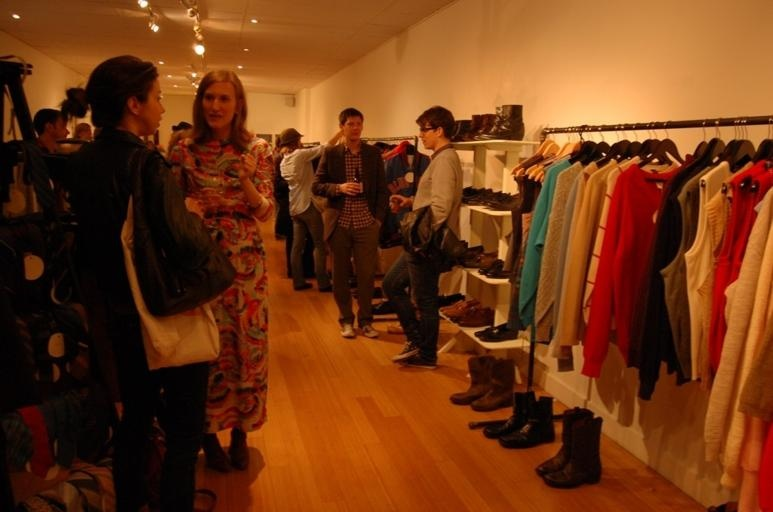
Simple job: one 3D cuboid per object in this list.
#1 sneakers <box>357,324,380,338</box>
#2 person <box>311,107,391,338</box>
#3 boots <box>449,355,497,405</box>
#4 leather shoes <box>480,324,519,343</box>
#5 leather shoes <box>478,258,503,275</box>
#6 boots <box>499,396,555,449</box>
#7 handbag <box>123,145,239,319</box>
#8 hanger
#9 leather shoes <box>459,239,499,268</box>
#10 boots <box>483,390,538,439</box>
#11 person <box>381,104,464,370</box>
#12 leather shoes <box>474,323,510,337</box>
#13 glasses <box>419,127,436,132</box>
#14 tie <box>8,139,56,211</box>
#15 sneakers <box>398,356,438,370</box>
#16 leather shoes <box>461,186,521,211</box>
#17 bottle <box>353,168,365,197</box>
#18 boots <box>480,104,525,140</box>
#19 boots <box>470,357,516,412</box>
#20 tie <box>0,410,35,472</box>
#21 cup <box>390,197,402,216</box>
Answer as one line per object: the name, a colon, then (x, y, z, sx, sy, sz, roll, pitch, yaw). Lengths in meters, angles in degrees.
sneakers: (-0.171, 0.703, 5.450, 0.089, 0.093, 0.226, -5, 8, -35)
person: (-0.329, -0.281, 5.271, 0.651, 2.076, 0.438, 0, 14, -4)
boots: (0.627, 0.910, 4.229, 0.413, 0.311, 0.148, -7, 0, -17)
leather shoes: (0.880, 0.602, 4.478, 0.282, 0.112, 0.166, 0, 0, -11)
leather shoes: (0.819, 0.085, 4.460, 0.086, 0.091, 0.226, 2, -2, 39)
boots: (0.918, 1.080, 3.716, 0.404, 0.297, 0.156, -2, 0, -14)
handbag: (-0.926, -0.117, 2.516, 0.419, 0.741, 0.366, -4, 16, 1)
hanger: (1.575, -0.660, 3.593, 0.767, 0.440, 1.557, -10, 18, -37)
leather shoes: (0.740, -0.007, 4.671, 0.195, 0.095, 0.323, -4, -11, 4)
boots: (0.855, 1.059, 3.808, 0.176, 0.344, 0.495, 6, -8, -43)
person: (0.301, -0.138, 4.620, 0.669, 2.078, 0.684, 7, 15, 22)
leather shoes: (0.828, 0.580, 4.462, 0.236, 0.088, 0.141, 0, -1, -17)
glasses: (0.327, -0.992, 4.471, 0.069, 0.021, 0.070, 1, 5, -11)
tie: (-1.509, -0.349, 2.493, 0.211, 0.281, 0.119, 3, 2, 1)
sneakers: (0.271, 0.860, 4.706, 0.300, 0.121, 0.104, 7, -1, 3)
leather shoes: (0.823, -0.469, 4.651, 0.186, 0.079, 0.454, -15, 14, -13)
bottle: (-0.241, -0.659, 5.096, 0.095, 0.223, 0.238, -1, 14, -5)
boots: (0.978, -1.076, 4.654, 0.497, 0.357, 0.183, 2, 10, 5)
boots: (0.766, 0.932, 4.145, 0.367, 0.356, 0.175, -2, 5, -13)
tie: (-1.606, 0.815, 2.501, 0.049, 0.292, 0.100, 13, 18, 40)
cup: (0.099, -0.475, 5.205, 0.092, 0.153, 0.157, 3, -6, -5)
